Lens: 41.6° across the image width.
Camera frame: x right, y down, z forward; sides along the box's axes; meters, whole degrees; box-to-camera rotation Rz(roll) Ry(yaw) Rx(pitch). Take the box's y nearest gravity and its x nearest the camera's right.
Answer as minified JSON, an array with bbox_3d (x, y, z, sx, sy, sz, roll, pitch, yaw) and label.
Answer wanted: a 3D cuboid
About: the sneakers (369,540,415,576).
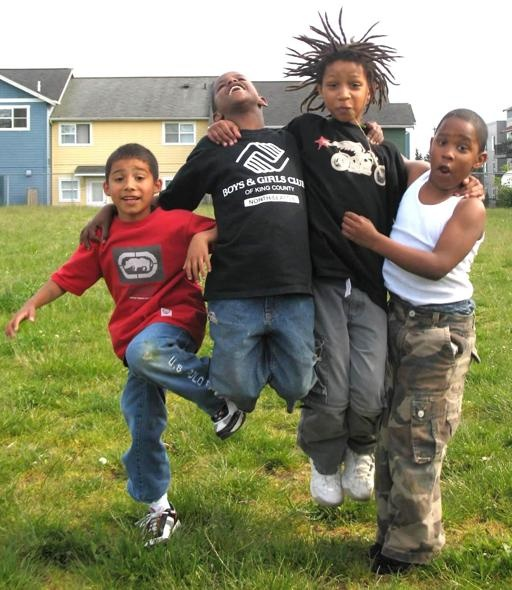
[{"bbox_3d":[0.621,1.265,3.223,0.078,0.149,0.225,-2,-12,-41],"label":"sneakers"}]

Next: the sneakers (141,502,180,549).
[{"bbox_3d":[-0.489,1.177,3.453,0.088,0.100,0.238,-39,-6,8],"label":"sneakers"}]

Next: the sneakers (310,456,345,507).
[{"bbox_3d":[0.384,1.010,3.617,0.119,0.117,0.304,-4,29,-3],"label":"sneakers"}]

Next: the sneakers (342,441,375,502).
[{"bbox_3d":[0.544,0.930,3.575,0.125,0.313,0.130,5,-21,-19],"label":"sneakers"}]

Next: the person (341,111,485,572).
[{"bbox_3d":[0.759,0.228,3.215,0.561,2.175,0.463,4,8,17],"label":"person"}]
